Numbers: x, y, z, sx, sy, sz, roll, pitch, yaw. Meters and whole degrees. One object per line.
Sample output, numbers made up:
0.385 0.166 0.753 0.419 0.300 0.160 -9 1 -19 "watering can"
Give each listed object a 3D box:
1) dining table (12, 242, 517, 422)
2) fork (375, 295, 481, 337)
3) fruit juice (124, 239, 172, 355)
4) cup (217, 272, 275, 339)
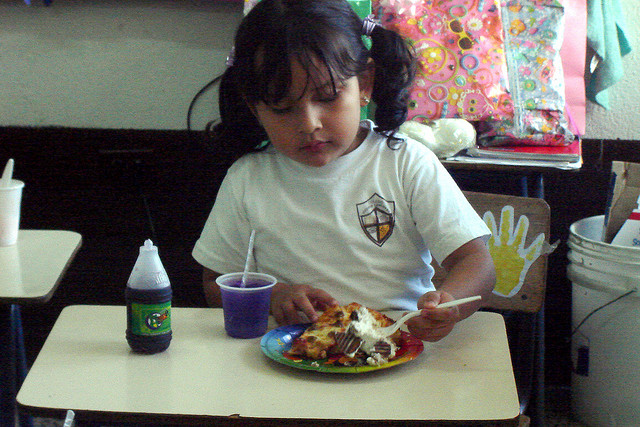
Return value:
-0.111 0.209 1.235 0.970 0.327 0.446 0 11 12 "dining table"
0.237 0.224 1.316 0.270 0.033 0.033 -15 -17 4 "fork"
-0.342 0.176 1.279 0.117 0.220 0.094 1 11 -7 "fruit juice"
-0.157 0.200 1.369 0.189 0.109 0.151 1 7 -2 "cup"
